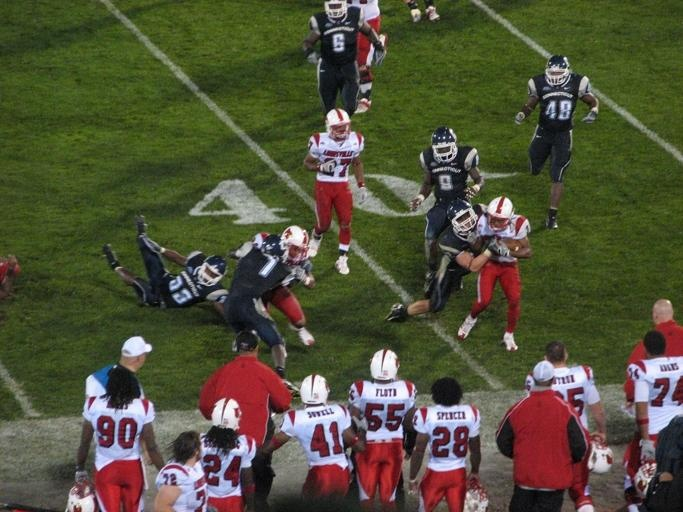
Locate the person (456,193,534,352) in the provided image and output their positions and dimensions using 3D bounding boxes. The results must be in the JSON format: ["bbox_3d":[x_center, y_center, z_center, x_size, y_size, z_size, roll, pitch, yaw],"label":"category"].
[{"bbox_3d":[1.816,0.198,16.028,0.920,1.735,0.884,3,16,8],"label":"person"}]

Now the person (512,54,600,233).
[{"bbox_3d":[2.861,-1.557,17.951,0.896,2.221,1.032,11,25,36],"label":"person"}]

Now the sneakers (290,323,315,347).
[{"bbox_3d":[-0.459,0.940,16.025,0.188,0.348,0.144,-48,4,11],"label":"sneakers"}]

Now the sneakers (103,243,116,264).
[{"bbox_3d":[-2.946,-0.022,16.793,0.091,0.064,0.248,-33,24,-3],"label":"sneakers"}]

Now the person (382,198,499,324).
[{"bbox_3d":[1.343,0.162,16.264,0.755,1.510,1.951,-23,20,-39],"label":"person"}]

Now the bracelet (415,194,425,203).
[{"bbox_3d":[0.979,-0.723,16.819,0.103,0.077,0.100,-21,51,-39],"label":"bracelet"}]

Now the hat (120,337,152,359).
[{"bbox_3d":[-2.089,0.943,13.502,0.286,0.139,0.196,-15,34,-27],"label":"hat"}]

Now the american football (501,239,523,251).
[{"bbox_3d":[2.025,-0.172,15.756,0.175,0.187,0.145,-45,4,12],"label":"american football"}]
